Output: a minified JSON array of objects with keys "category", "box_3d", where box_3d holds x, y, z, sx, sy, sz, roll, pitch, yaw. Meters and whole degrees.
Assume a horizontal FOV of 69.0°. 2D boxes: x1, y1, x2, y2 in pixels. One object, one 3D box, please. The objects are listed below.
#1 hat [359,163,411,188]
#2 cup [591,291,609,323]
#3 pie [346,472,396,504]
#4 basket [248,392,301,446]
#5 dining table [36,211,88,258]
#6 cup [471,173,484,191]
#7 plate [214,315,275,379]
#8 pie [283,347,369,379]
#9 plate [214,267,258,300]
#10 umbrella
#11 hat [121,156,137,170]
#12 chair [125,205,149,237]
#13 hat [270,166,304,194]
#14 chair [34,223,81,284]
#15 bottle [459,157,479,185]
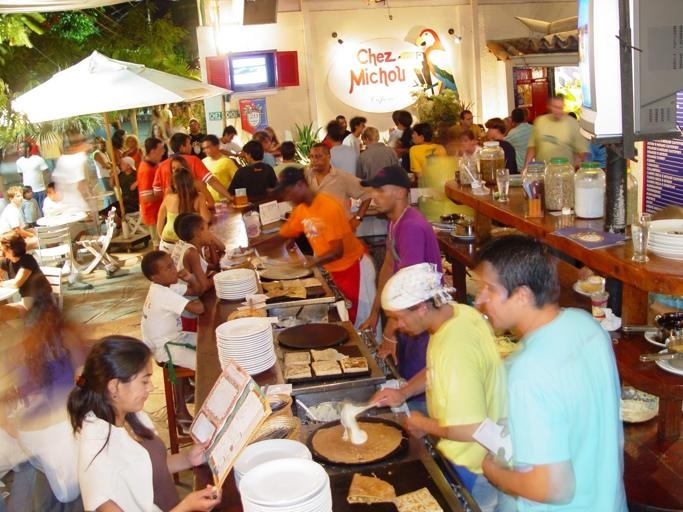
[{"category":"hat","box_3d":[0.351,-0.602,3.801,0.295,0.154,0.189,7,10,-2]},{"category":"cup","box_3d":[1.582,0.300,3.030,0.084,0.151,0.187,1,14,28]},{"category":"pie","box_3d":[0.120,0.899,1.918,0.181,0.036,0.133,-4,12,7]},{"category":"basket","box_3d":[-0.266,0.710,2.115,0.166,0.115,0.223,-4,23,45]},{"category":"dining table","box_3d":[-4.789,-0.385,8.449,0.544,0.619,0.927,-6,-23,-22]},{"category":"cup","box_3d":[1.287,-0.684,4.668,0.156,0.154,0.103,6,14,24]},{"category":"plate","box_3d":[-0.541,0.520,2.845,0.309,0.266,0.309,-10,13,-21]},{"category":"pie","box_3d":[-0.093,0.600,2.837,0.464,0.052,0.396,-7,12,-7]},{"category":"plate","box_3d":[-0.826,0.222,3.985,0.271,0.123,0.273,-4,16,0]},{"category":"umbrella","box_3d":[-2.857,-1.650,6.211,1.588,1.107,1.598,-6,25,-6]},{"category":"hat","box_3d":[-4.646,-2.023,10.819,0.332,0.254,0.235,30,18,-33]},{"category":"chair","box_3d":[-4.288,-0.682,10.605,0.522,0.611,0.629,-10,22,-22]},{"category":"hat","box_3d":[-0.455,-0.682,4.431,0.276,0.144,0.191,-30,26,-7]},{"category":"chair","box_3d":[-4.626,-0.257,8.180,0.539,0.643,0.863,8,16,-14]},{"category":"bottle","box_3d":[1.237,-0.857,4.956,0.166,0.284,0.290,-16,8,22]}]
